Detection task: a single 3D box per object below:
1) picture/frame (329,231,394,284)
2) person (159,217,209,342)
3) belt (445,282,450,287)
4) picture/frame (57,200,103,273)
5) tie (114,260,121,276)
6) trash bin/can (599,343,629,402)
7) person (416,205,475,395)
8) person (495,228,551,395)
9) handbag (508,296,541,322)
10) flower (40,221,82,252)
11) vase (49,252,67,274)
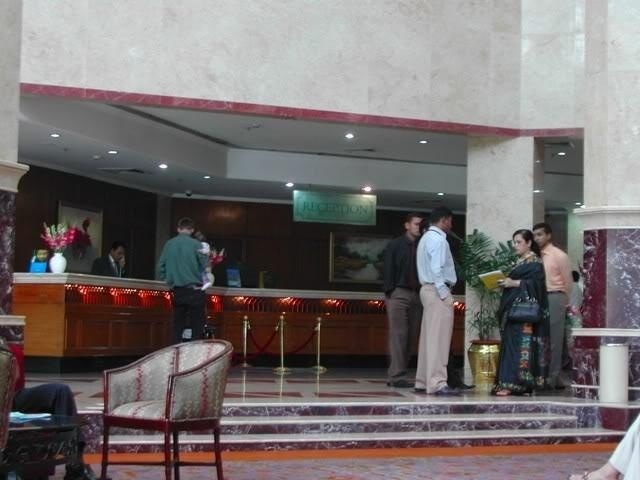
[{"bbox_3d":[0.799,0.410,15.319,1.229,0.857,0.041,0,-2,-6],"label":"picture/frame"},{"bbox_3d":[-1.845,0.543,9.535,0.662,1.669,0.352,0,-4,-5],"label":"person"},{"bbox_3d":[1.542,0.542,8.586,0.053,0.053,0.060,1,-13,0],"label":"belt"},{"bbox_3d":[-4.429,-0.064,12.930,0.086,1.247,1.256,2,-9,20],"label":"picture/frame"},{"bbox_3d":[-3.478,0.483,12.133,0.150,0.293,0.371,1,-4,-14],"label":"tie"},{"bbox_3d":[3.228,1.486,7.778,0.284,0.644,0.178,-2,-4,14],"label":"trash bin/can"},{"bbox_3d":[1.403,0.734,8.624,0.462,2.256,0.557,0,-4,-11],"label":"person"},{"bbox_3d":[2.405,0.880,8.569,0.668,2.005,0.427,-2,-4,16],"label":"person"},{"bbox_3d":[2.438,0.826,8.406,0.290,0.288,0.123,-3,-17,27],"label":"handbag"},{"bbox_3d":[-4.348,-0.071,11.767,0.520,0.499,0.521,-1,-8,0],"label":"flower"},{"bbox_3d":[-3.903,0.336,10.492,0.219,0.305,0.263,1,-4,-22],"label":"vase"}]
